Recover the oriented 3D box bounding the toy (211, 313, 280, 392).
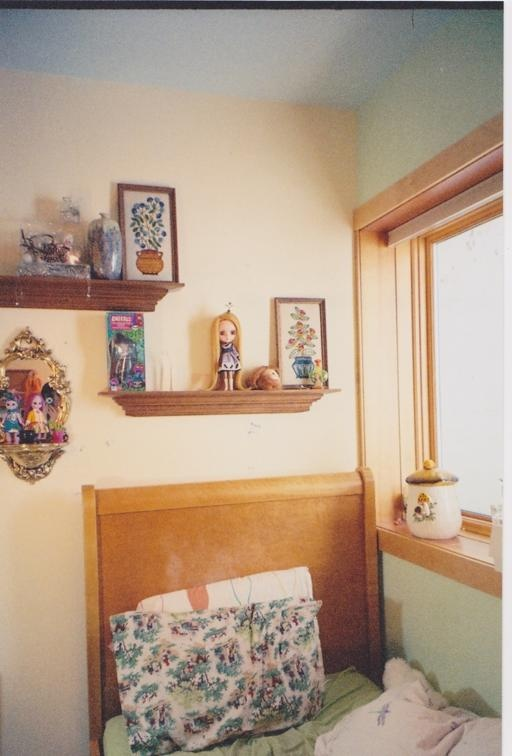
[{"bbox_3d":[-0.022,-0.045,1.079,0.139,0.150,0.067,-1,0,-44],"label":"toy"}]

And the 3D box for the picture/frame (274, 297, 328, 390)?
[{"bbox_3d":[0.082,-0.064,1.146,0.093,0.160,0.085,-1,1,6],"label":"picture/frame"}]

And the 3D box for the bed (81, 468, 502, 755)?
[{"bbox_3d":[0.006,0.297,1.117,0.750,0.545,0.408,0,-6,-18],"label":"bed"}]
